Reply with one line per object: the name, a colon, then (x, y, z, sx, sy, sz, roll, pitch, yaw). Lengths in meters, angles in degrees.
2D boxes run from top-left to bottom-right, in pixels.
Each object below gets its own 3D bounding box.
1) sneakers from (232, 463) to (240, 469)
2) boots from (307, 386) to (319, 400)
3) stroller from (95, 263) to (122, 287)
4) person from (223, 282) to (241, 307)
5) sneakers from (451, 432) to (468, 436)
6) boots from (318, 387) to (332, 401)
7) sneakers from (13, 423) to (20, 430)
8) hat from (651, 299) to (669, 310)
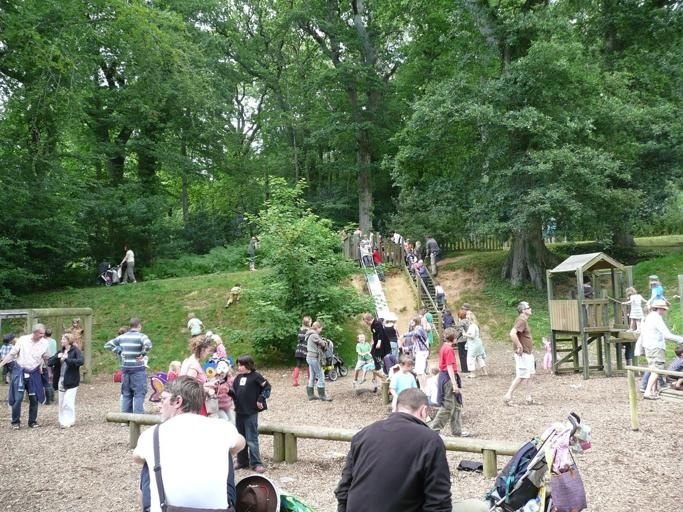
sneakers: (-2.901, 5.842, 22.424, 0.070, 0.247, 0.173, -21, 0, -38)
boots: (-1.000, 4.645, 27.536, 0.287, 0.588, 0.511, 4, 6, 31)
stroller: (-11.495, 0.915, 40.149, 1.136, 1.271, 1.006, -1, -1, -5)
person: (-4.889, 1.783, 36.754, 0.636, 1.193, 0.949, -2, -7, -2)
sneakers: (3.429, 5.168, 23.464, 0.411, 0.193, 0.186, -4, -3, -6)
boots: (-0.585, 4.700, 27.448, 0.534, 0.550, 0.271, -2, -1, -8)
sneakers: (-10.054, 5.314, 25.182, 0.235, 0.115, 0.104, -16, -12, 35)
hat: (9.589, 1.387, 24.440, 0.435, 0.186, 0.407, 7, -10, 10)
